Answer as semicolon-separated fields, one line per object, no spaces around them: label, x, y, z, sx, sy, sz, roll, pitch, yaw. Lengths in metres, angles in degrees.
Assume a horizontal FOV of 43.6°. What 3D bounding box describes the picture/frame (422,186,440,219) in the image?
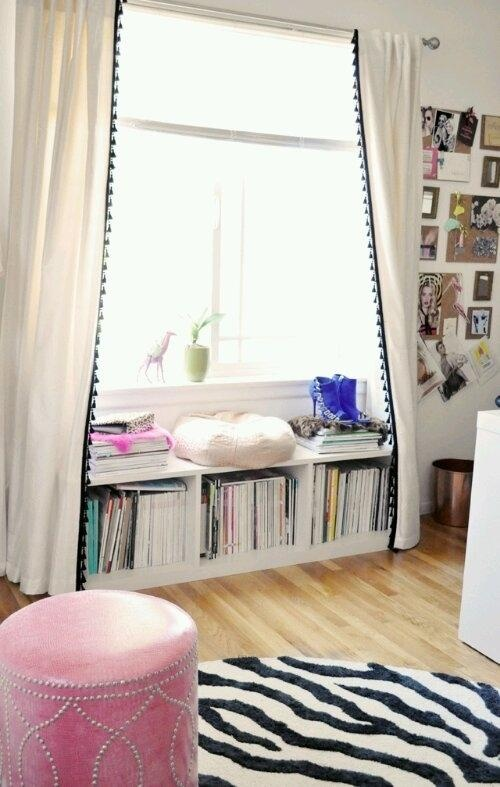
picture/frame;0.882;-0.950;3.078;0.143;0.188;0.013;-8;13;-40

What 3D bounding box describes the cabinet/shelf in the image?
cabinet/shelf;-0.043;0.470;2.666;1.292;0.484;0.410;-4;11;-17

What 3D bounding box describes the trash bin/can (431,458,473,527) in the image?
trash bin/can;1.034;0.504;3.287;0.253;0.342;0.297;1;5;5

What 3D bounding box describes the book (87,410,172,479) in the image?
book;-0.463;0.180;2.327;0.306;0.210;0.221;-1;5;-43

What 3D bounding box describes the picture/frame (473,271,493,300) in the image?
picture/frame;1.240;-0.587;3.350;0.136;0.213;0.019;-2;12;-29

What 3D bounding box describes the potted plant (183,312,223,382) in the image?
potted plant;-0.211;-0.208;2.823;0.157;0.311;0.229;2;3;-4
